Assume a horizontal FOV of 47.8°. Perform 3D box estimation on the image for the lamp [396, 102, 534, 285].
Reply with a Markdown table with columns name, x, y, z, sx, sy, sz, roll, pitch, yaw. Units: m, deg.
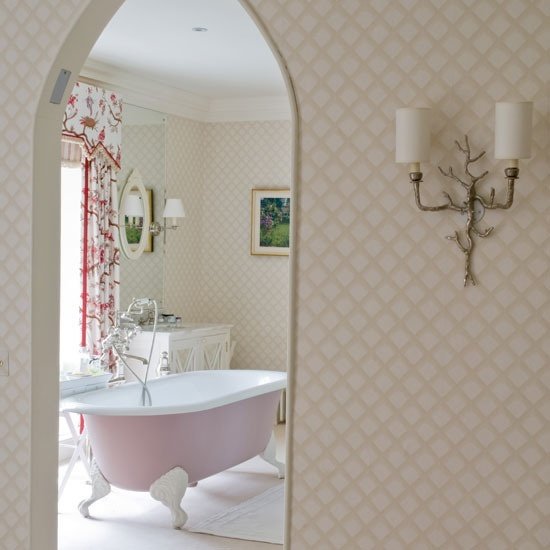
| name | x | y | z | sx | sy | sz | roll | pitch | yaw |
| --- | --- | --- | --- | --- | --- | --- | --- | --- | --- |
| lamp | 0.561 | -0.245 | 1.786 | 0.451 | 0.693 | 0.132 | 0 | 5 | 18 |

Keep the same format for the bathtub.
| name | x | y | z | sx | sy | sz | roll | pitch | yaw |
| --- | --- | --- | --- | --- | --- | --- | --- | --- | --- |
| bathtub | -0.625 | 1.098 | 3.982 | 0.780 | 0.764 | 1.537 | 2 | 1 | 33 |

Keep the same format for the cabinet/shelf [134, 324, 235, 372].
| name | x | y | z | sx | sy | sz | roll | pitch | yaw |
| --- | --- | --- | --- | --- | --- | --- | --- | --- | --- |
| cabinet/shelf | -0.774 | 0.632 | 5.353 | 0.370 | 0.420 | 1.055 | 2 | 1 | 28 |

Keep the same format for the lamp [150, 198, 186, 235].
| name | x | y | z | sx | sy | sz | roll | pitch | yaw |
| --- | --- | --- | --- | --- | --- | --- | --- | --- | --- |
| lamp | -0.972 | -0.523 | 5.598 | 0.308 | 0.344 | 0.191 | -2 | 0 | -24 |
